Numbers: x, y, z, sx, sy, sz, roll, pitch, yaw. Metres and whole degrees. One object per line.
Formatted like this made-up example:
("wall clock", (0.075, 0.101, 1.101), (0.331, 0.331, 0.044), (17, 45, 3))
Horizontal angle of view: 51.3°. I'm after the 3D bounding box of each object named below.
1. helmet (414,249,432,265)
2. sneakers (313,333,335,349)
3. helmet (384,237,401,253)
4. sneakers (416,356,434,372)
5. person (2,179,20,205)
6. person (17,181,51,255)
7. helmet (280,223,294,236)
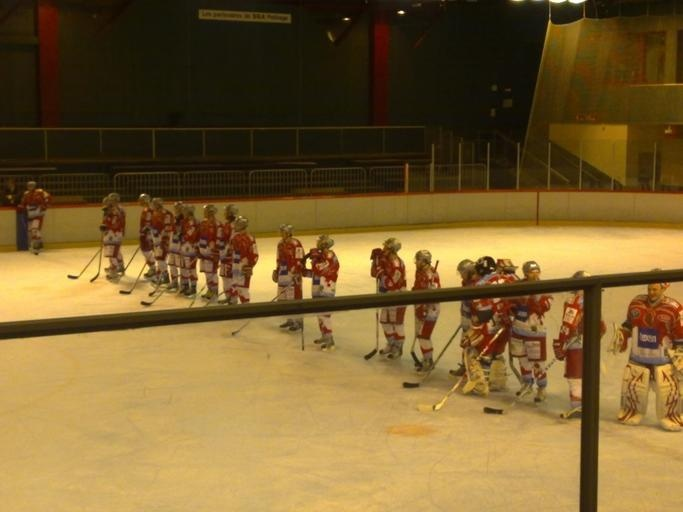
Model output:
("helmet", (1.079, 0.015, 9.543), (0.220, 0.184, 0.168), (21, 16, 36))
("sneakers", (-0.083, 0.437, 3.611), (0.125, 0.121, 0.046), (2, 7, -3))
("helmet", (0.673, -0.121, 9.937), (0.230, 0.191, 0.193), (22, 24, 26))
("sneakers", (0.448, 0.594, 3.842), (0.049, 0.059, 0.135), (-1, -5, 12))
("person", (-9.347, -1.776, 20.119), (0.452, 0.740, 0.869), (5, 6, -28))
("person", (-8.337, -1.029, 19.271), (0.679, 1.938, 0.917), (5, 5, -25))
("helmet", (-0.860, -0.409, 11.448), (0.210, 0.187, 0.205), (-5, 12, -27))
